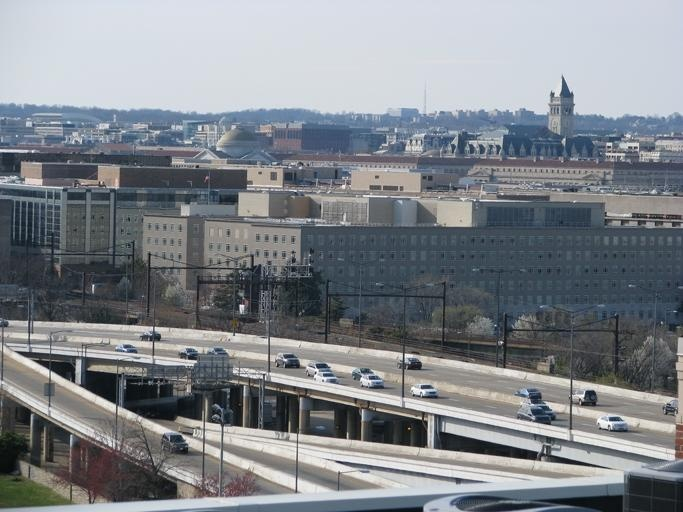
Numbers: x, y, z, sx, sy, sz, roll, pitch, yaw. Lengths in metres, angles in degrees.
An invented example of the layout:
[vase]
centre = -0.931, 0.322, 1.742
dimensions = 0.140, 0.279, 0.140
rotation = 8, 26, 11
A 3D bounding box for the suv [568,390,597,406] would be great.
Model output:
[suv]
centre = 18.200, 10.569, 157.975
dimensions = 1.840, 1.095, 2.247
rotation = 0, 3, 9
